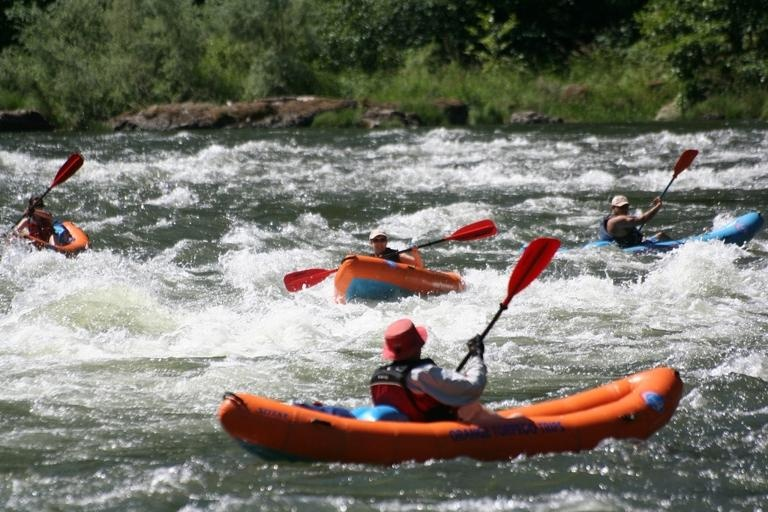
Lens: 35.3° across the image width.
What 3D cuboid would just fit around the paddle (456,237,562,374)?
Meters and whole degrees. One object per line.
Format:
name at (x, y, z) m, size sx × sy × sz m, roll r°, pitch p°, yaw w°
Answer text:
paddle at (2.357, 1.360, 26.193) m, size 0.795 × 5.276 × 0.246 m, roll 3°, pitch 50°, yaw -24°

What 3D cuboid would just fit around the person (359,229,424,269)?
person at (0.223, -0.069, 27.929) m, size 1.218 × 0.422 × 0.855 m, roll 17°, pitch -1°, yaw 3°

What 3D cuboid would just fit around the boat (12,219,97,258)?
boat at (-7.707, -0.359, 28.273) m, size 1.268 × 0.393 × 0.937 m, roll 4°, pitch 33°, yaw -26°

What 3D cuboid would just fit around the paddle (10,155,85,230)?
paddle at (-8.494, -1.531, 30.286) m, size 0.404 × 2.969 × 0.137 m, roll 42°, pitch 30°, yaw -15°

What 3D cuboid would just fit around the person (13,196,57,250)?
person at (-8.337, -0.313, 28.684) m, size 0.834 × 2.225 × 0.818 m, roll 0°, pitch -4°, yaw -21°

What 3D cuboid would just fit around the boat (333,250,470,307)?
boat at (0.195, 0.549, 27.630) m, size 2.511 × 0.713 × 1.226 m, roll 2°, pitch -9°, yaw -13°
